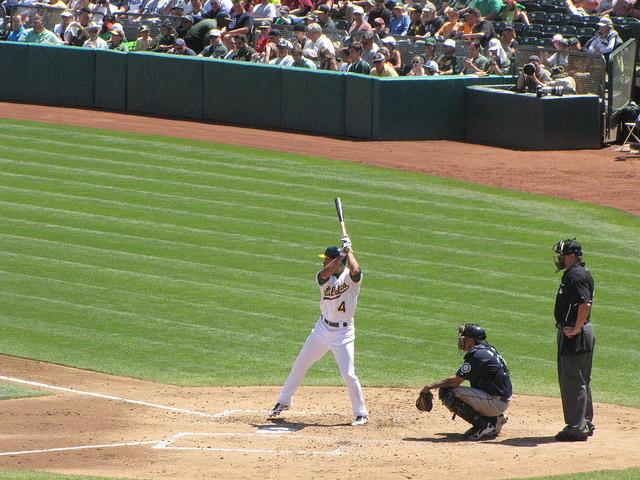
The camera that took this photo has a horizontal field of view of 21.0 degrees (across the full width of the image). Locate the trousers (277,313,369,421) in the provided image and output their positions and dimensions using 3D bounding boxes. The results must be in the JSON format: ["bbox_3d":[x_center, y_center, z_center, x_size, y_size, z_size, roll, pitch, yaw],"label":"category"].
[{"bbox_3d":[0.066,2.148,28.930,1.411,1.770,0.389,0,6,8],"label":"trousers"}]

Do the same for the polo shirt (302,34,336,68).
[{"bbox_3d":[-0.075,-4.425,40.988,0.943,0.827,0.786,4,25,11],"label":"polo shirt"}]

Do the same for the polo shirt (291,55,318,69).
[{"bbox_3d":[-0.403,-4.109,40.266,0.439,0.151,0.378,8,42,1],"label":"polo shirt"}]

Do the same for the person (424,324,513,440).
[{"bbox_3d":[2.507,2.347,28.378,1.173,1.856,0.372,0,6,3],"label":"person"}]

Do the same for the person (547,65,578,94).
[{"bbox_3d":[5.433,-3.604,38.863,0.603,0.656,0.719,0,5,8],"label":"person"}]

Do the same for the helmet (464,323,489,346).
[{"bbox_3d":[2.533,1.579,28.427,0.386,0.331,0.220,-1,5,-6],"label":"helmet"}]

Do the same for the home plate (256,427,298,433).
[{"bbox_3d":[-0.747,3.168,28.696,0.634,0.056,0.175,-1,4,-5],"label":"home plate"}]

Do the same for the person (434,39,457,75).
[{"bbox_3d":[2.862,-4.229,40.190,0.528,0.781,0.348,1,6,15],"label":"person"}]

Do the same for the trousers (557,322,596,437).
[{"bbox_3d":[4.088,2.224,28.267,0.756,2.062,0.657,4,8,22],"label":"trousers"}]

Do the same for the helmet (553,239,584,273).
[{"bbox_3d":[4.136,0.262,28.381,0.512,0.507,0.554,-11,10,-37],"label":"helmet"}]

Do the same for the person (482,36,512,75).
[{"bbox_3d":[4.127,-4.264,40.339,0.638,0.831,0.777,1,5,14],"label":"person"}]

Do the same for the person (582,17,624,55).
[{"bbox_3d":[6.462,-4.656,39.834,0.734,0.915,1.078,-10,21,-21],"label":"person"}]

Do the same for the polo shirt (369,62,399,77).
[{"bbox_3d":[1.475,-3.886,39.640,0.349,0.137,0.460,1,-1,-44],"label":"polo shirt"}]

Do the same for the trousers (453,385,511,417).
[{"bbox_3d":[2.589,2.662,28.328,0.869,0.507,0.168,0,6,6],"label":"trousers"}]

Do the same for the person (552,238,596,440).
[{"bbox_3d":[4.112,1.647,28.195,0.627,3.236,0.572,0,6,4],"label":"person"}]

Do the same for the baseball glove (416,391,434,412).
[{"bbox_3d":[1.714,2.670,28.414,0.157,0.305,0.266,22,-29,-39],"label":"baseball glove"}]

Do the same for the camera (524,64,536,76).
[{"bbox_3d":[4.617,-3.780,38.397,0.280,0.220,0.242,7,6,17],"label":"camera"}]

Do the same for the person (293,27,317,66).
[{"bbox_3d":[-0.367,-4.547,40.735,0.514,0.924,1.140,0,5,0],"label":"person"}]

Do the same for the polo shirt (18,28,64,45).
[{"bbox_3d":[-7.021,-5.053,43.102,0.863,0.273,0.205,1,11,4],"label":"polo shirt"}]
